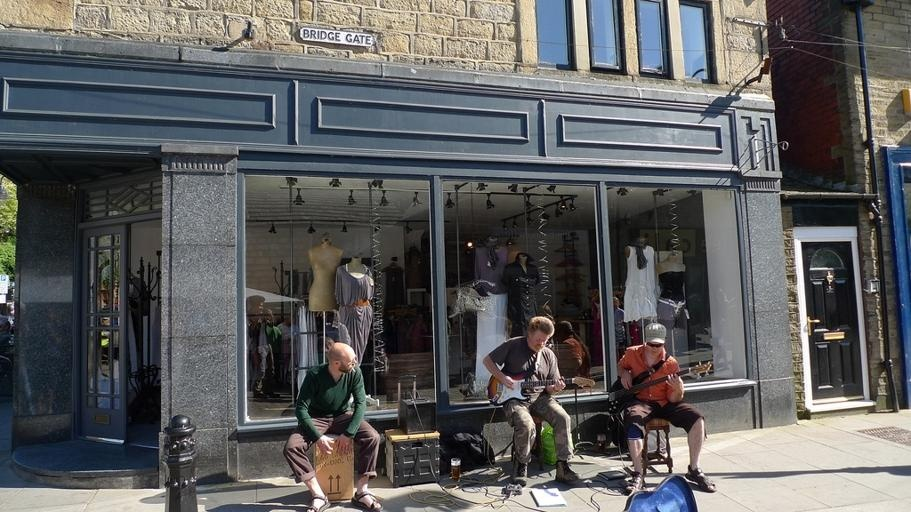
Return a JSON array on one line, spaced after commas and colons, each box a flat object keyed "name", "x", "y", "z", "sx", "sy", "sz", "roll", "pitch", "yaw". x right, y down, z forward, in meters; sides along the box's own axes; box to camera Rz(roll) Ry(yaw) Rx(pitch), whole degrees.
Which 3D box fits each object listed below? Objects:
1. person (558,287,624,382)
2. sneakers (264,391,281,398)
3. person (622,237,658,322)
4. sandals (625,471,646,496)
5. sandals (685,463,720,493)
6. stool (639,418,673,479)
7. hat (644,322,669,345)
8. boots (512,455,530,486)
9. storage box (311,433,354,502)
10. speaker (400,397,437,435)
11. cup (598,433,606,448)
[{"name": "person", "x": 2.105, "y": 1.413, "z": 14.015, "sx": 1.552, "sy": 1.308, "sz": 0.354, "roll": 0, "pitch": -4, "yaw": 17}, {"name": "sneakers", "x": -2.846, "y": 2.178, "z": 12.956, "sx": 0.269, "sy": 0.149, "sz": 0.082, "roll": -3, "pitch": 5, "yaw": -19}, {"name": "person", "x": 3.254, "y": 0.410, "z": 14.532, "sx": 0.653, "sy": 1.440, "sz": 0.164, "roll": -1, "pitch": -8, "yaw": -21}, {"name": "sandals", "x": 2.672, "y": 3.375, "z": 12.314, "sx": 0.298, "sy": 0.285, "sz": 0.494, "roll": -5, "pitch": -7, "yaw": 14}, {"name": "sandals", "x": 3.658, "y": 3.337, "z": 12.456, "sx": 0.542, "sy": 0.219, "sz": 0.281, "roll": 11, "pitch": 9, "yaw": 44}, {"name": "stool", "x": 3.233, "y": 2.948, "z": 12.921, "sx": 0.530, "sy": 0.727, "sz": 0.584, "roll": -7, "pitch": -7, "yaw": 30}, {"name": "hat", "x": 3.107, "y": 1.214, "z": 12.820, "sx": 0.285, "sy": 0.224, "sz": 0.412, "roll": 6, "pitch": 0, "yaw": 14}, {"name": "boots", "x": 0.988, "y": 3.247, "z": 12.491, "sx": 0.234, "sy": 0.438, "sz": 0.191, "roll": -4, "pitch": -7, "yaw": 1}, {"name": "storage box", "x": -1.657, "y": 3.196, "z": 12.263, "sx": 0.878, "sy": 1.142, "sz": 0.826, "roll": 0, "pitch": -7, "yaw": -12}, {"name": "speaker", "x": -0.602, "y": 2.434, "z": 12.631, "sx": 0.518, "sy": 0.469, "sz": 0.509, "roll": 2, "pitch": -1, "yaw": 36}, {"name": "cup", "x": 2.373, "y": 2.979, "z": 13.322, "sx": 0.136, "sy": 0.230, "sz": 0.077, "roll": -3, "pitch": -7, "yaw": -3}]
